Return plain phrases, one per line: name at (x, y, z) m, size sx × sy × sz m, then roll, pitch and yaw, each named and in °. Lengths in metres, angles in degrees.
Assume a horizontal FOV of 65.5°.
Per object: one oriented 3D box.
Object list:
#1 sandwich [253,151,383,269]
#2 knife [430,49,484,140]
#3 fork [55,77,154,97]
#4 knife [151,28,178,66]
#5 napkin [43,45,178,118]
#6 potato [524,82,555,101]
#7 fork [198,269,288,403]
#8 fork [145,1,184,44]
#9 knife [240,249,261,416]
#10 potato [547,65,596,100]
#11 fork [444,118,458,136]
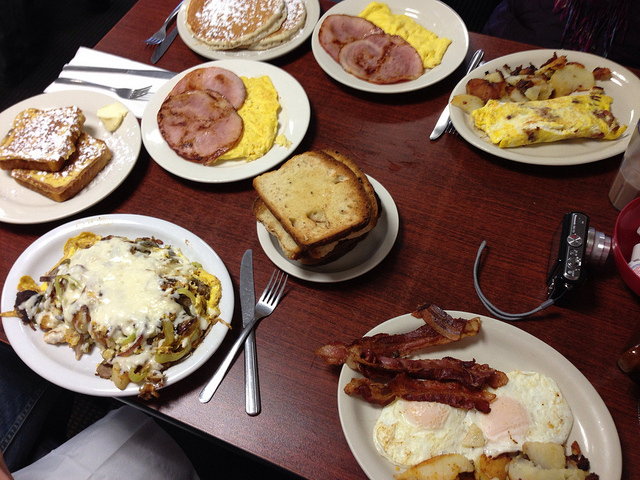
sandwich at (-0.023, -0.104, 1.768) m, size 0.390 × 0.136 × 0.456 m, roll -18°, pitch 52°, yaw -12°
knife at (0.529, -0.559, 1.954) m, size 0.051 × 0.023 × 0.470 m, roll 34°, pitch 71°, yaw -25°
fork at (-0.927, -0.665, 2.176) m, size 0.371 × 0.047 × 0.055 m, roll 12°, pitch 61°, yaw 2°
knife at (-0.714, -0.881, 2.296) m, size 0.029 × 0.026 × 0.232 m, roll 26°, pitch 68°, yaw 4°
napkin at (-0.931, -0.734, 2.234) m, size 0.512 × 0.049 × 0.355 m, roll 20°, pitch 64°, yaw 10°
potato at (0.836, -0.562, 1.900) m, size 0.068 × 0.023 × 0.077 m, roll -8°, pitch 92°, yaw 11°
fork at (-0.253, 0.331, 1.609) m, size 0.053 × 0.049 × 0.425 m, roll 23°, pitch 76°, yaw 9°
fork at (-0.740, -1.029, 2.377) m, size 0.041 × 0.036 × 0.311 m, roll 24°, pitch 66°, yaw 0°
knife at (-0.234, 0.288, 1.640) m, size 0.047 × 0.103 × 0.556 m, roll -8°, pitch 73°, yaw 2°
potato at (0.947, -0.608, 1.865) m, size 0.141 × 0.118 × 0.091 m, roll 23°, pitch 38°, yaw 33°
fork at (0.507, -0.432, 1.928) m, size 0.035 × 0.011 × 0.065 m, roll 7°, pitch 79°, yaw 5°
